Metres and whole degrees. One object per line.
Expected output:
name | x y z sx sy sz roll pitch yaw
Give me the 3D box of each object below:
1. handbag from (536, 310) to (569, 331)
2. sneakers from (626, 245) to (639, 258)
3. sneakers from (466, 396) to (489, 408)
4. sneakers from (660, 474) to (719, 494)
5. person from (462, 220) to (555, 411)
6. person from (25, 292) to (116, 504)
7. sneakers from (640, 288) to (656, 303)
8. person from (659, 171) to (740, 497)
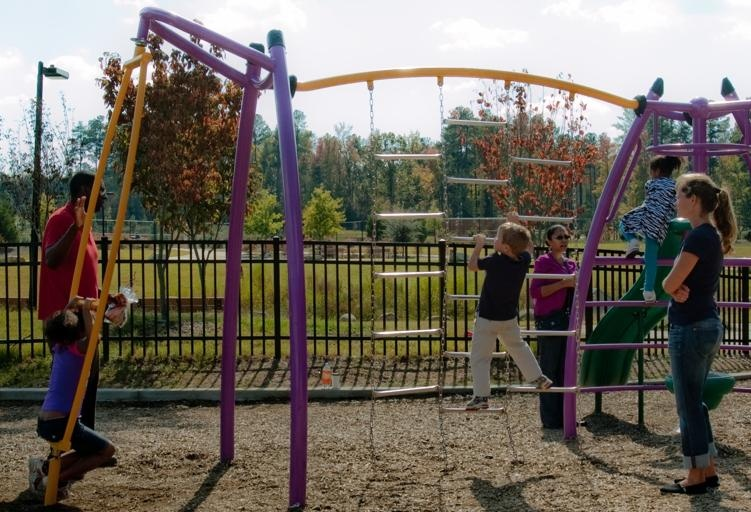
handbag | 2.175 0.791 10.207 0.289 0.219 0.240 -2 -3 16
sneakers | 3.047 -0.063 9.847 0.142 0.146 0.213 1 8 17
sneakers | 1.105 1.585 8.947 0.236 0.154 0.117 2 -2 2
sneakers | 3.127 2.265 8.307 0.531 0.157 0.224 0 -16 7
person | 1.403 0.640 9.044 0.868 1.955 0.543 -1 7 -4
person | -3.099 1.427 8.436 0.830 2.015 0.446 -4 8 -27
sneakers | 3.096 0.457 9.427 0.153 0.165 0.135 -3 2 22
person | 3.243 0.754 8.373 0.529 3.159 0.938 4 8 33
